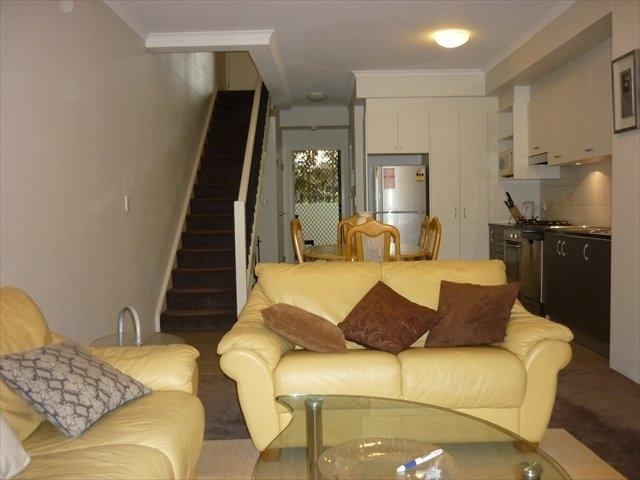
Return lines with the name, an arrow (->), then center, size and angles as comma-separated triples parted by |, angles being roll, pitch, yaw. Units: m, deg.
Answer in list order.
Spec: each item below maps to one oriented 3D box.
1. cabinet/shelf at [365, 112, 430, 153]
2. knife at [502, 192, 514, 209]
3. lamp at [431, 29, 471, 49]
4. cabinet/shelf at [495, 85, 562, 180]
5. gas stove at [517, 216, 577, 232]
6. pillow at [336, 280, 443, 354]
cabinet/shelf -> 1.076, -1.468, 6.810 | 0.885, 0.589, 0.450 | 0, -4, 0
knife -> 2.601, -0.535, 6.596 | 0.054, 0.290, 0.080 | 17, -34, -36
lamp -> 1.368, -2.157, 5.082 | 0.416, 0.168, 0.272 | 0, 3, 26
cabinet/shelf -> 2.631, -1.351, 5.953 | 0.617, 1.144, 1.199 | 0, 1, -3
gas stove -> 2.679, -0.187, 5.694 | 0.622, 0.155, 1.677 | 0, 3, 22
pillow -> 0.351, 0.473, 3.441 | 0.878, 0.202, 0.821 | -17, 17, -41
